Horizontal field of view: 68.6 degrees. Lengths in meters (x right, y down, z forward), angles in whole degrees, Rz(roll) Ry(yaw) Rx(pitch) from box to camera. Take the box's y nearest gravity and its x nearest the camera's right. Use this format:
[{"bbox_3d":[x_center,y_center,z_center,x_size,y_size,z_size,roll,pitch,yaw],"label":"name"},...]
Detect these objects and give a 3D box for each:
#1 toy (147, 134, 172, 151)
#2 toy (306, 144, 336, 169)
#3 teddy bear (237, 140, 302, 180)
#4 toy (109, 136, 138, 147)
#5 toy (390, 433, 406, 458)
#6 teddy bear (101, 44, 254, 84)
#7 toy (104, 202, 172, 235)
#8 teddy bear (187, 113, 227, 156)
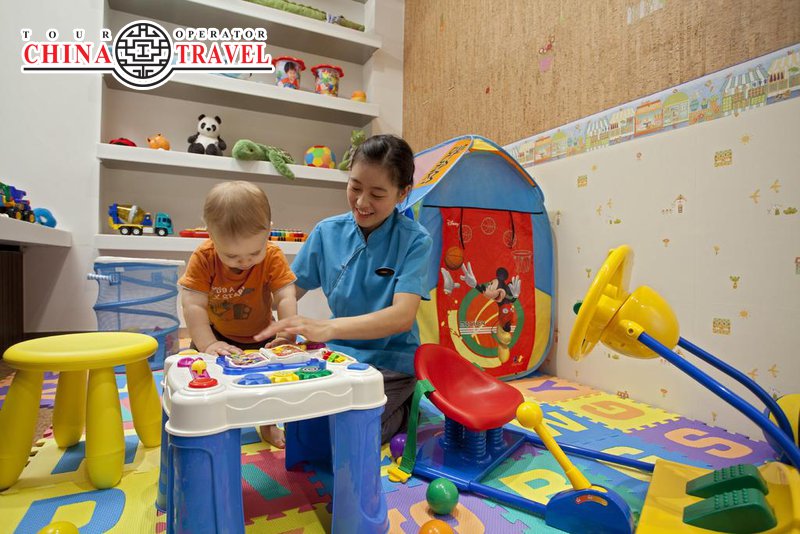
[{"bbox_3d":[-1.327,-0.689,3.226,0.123,0.113,0.280,0,6,-21],"label":"toy"},{"bbox_3d":[-0.468,-0.651,3.552,0.151,0.151,0.179,13,37,-13],"label":"toy"},{"bbox_3d":[-0.737,-0.627,3.276,0.278,0.104,0.217,6,20,-47],"label":"teddy bear"},{"bbox_3d":[-1.492,-0.674,3.163,0.141,0.073,0.272,-1,6,-25],"label":"toy"},{"bbox_3d":[-0.005,0.590,1.941,0.061,0.066,0.066,1,-22,3],"label":"toy"},{"bbox_3d":[-1.173,-1.108,3.183,0.658,0.124,0.272,5,-4,-11],"label":"teddy bear"},{"bbox_3d":[-1.365,-0.253,3.070,0.365,0.209,0.147,0,3,-15],"label":"toy"},{"bbox_3d":[-1.091,-0.751,3.314,0.204,0.261,0.297,0,6,-19],"label":"teddy bear"}]
